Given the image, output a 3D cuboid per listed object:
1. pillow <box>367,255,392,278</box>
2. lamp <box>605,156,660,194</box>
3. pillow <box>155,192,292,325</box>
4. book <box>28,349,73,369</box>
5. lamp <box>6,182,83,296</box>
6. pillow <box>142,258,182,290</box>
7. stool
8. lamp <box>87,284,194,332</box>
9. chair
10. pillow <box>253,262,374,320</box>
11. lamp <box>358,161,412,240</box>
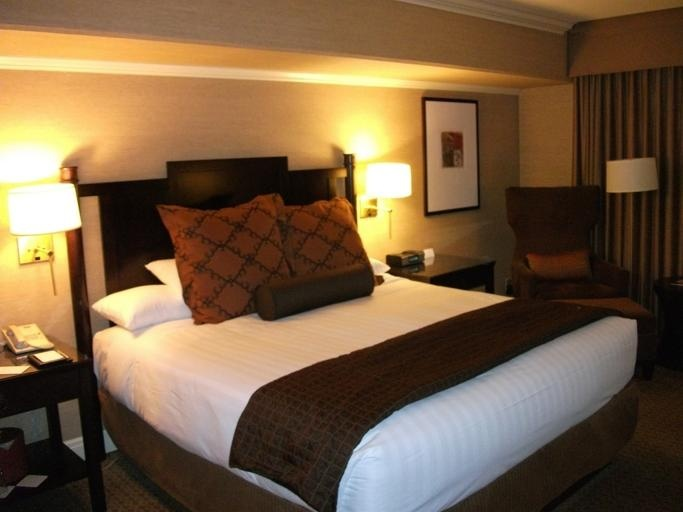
[{"bbox_3d":[0.295,0.093,4.340,0.174,0.052,0.154,22,28,36],"label":"pillow"},{"bbox_3d":[2.763,-0.788,5.141,0.396,0.253,0.388,-11,13,-31],"label":"lamp"},{"bbox_3d":[-0.774,0.052,3.537,0.755,0.624,0.367,-16,16,-33],"label":"pillow"},{"bbox_3d":[-1.620,0.570,2.994,0.179,0.036,0.249,-13,16,-40],"label":"book"},{"bbox_3d":[-1.807,-0.082,3.343,0.382,0.728,0.428,-11,15,-31],"label":"lamp"},{"bbox_3d":[-1.268,0.113,3.698,0.163,0.039,0.175,-11,41,-23],"label":"pillow"},{"bbox_3d":[2.156,0.604,4.300,0.733,0.496,1.027,-9,12,-42],"label":"stool"},{"bbox_3d":[-1.303,0.329,3.545,0.583,0.142,0.543,4,-8,-7],"label":"lamp"},{"bbox_3d":[2.010,-0.067,5.022,0.955,1.166,1.058,-2,9,1],"label":"chair"},{"bbox_3d":[-0.121,0.194,3.741,1.010,0.286,0.273,-11,20,-41],"label":"pillow"},{"bbox_3d":[0.440,-0.521,4.942,0.384,0.611,0.385,7,14,42],"label":"lamp"}]
